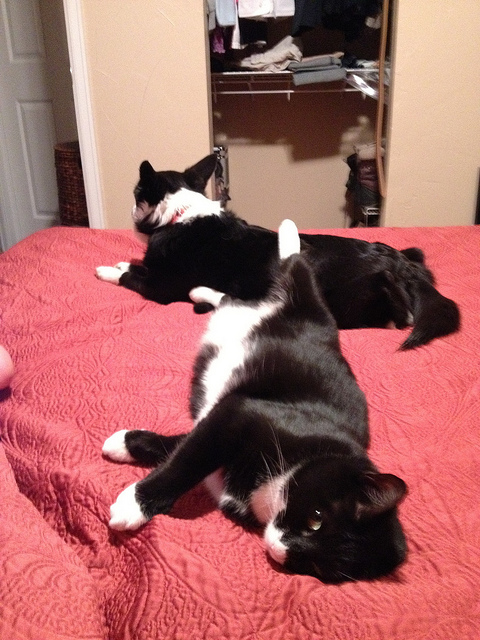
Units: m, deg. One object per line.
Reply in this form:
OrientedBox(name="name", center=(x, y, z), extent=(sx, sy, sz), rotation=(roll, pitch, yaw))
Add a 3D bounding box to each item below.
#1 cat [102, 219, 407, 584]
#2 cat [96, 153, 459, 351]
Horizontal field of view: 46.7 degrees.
OrientedBox(name="cat", center=(0.007, 0.097, 0.756), extent=(0.202, 0.221, 0.459), rotation=(9, 23, -14))
OrientedBox(name="cat", center=(0.065, -0.165, 1.372), extent=(0.940, 0.323, 0.321), rotation=(13, 11, 27))
